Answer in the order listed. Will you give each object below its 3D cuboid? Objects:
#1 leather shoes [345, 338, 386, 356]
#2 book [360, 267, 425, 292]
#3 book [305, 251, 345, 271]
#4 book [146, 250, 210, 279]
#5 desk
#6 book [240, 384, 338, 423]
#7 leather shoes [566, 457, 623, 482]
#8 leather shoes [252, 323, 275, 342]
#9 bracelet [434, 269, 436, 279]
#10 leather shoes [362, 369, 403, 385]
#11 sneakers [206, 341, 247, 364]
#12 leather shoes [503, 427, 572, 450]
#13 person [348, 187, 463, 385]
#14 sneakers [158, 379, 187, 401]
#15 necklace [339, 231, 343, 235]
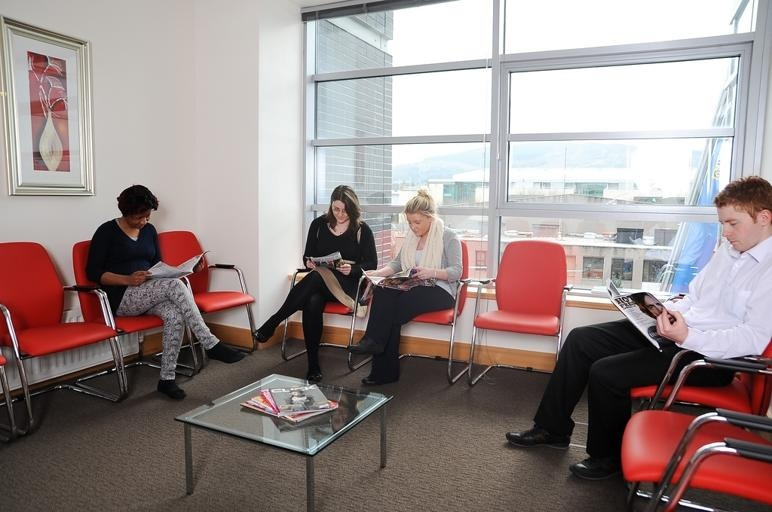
[{"bbox_3d":[-0.153,0.698,3.865,0.248,0.090,0.113,7,-3,-27],"label":"leather shoes"},{"bbox_3d":[0.077,0.196,3.917,0.305,0.111,0.232,2,1,-40],"label":"book"},{"bbox_3d":[-0.521,0.049,4.244,0.276,0.188,0.360,-3,12,-16],"label":"book"},{"bbox_3d":[-1.558,0.033,3.753,0.319,0.109,0.222,-13,-7,-34],"label":"book"},{"bbox_3d":[-0.486,0.826,2.816,0.804,0.382,0.791,3,6,27],"label":"desk"},{"bbox_3d":[-0.506,0.821,2.812,0.259,0.058,0.236,4,2,35],"label":"book"},{"bbox_3d":[1.188,1.213,2.873,0.314,0.114,0.111,0,-2,2],"label":"leather shoes"},{"bbox_3d":[-0.984,0.633,4.148,0.194,0.102,0.081,-34,8,-16],"label":"leather shoes"},{"bbox_3d":[0.391,0.151,4.026,0.024,0.062,0.042,1,13,6],"label":"bracelet"},{"bbox_3d":[-0.044,0.955,3.975,0.236,0.084,0.114,2,-5,-2],"label":"leather shoes"},{"bbox_3d":[-1.211,0.750,3.924,0.342,0.212,0.138,1,6,0],"label":"sneakers"},{"bbox_3d":[0.955,1.143,3.241,0.422,0.156,0.138,3,-3,12],"label":"leather shoes"},{"bbox_3d":[0.193,0.232,4.100,0.887,1.482,0.598,-2,13,-11],"label":"person"},{"bbox_3d":[-1.584,0.995,3.743,0.285,0.179,0.099,1,0,20],"label":"sneakers"},{"bbox_3d":[-0.395,-0.198,4.438,0.038,0.025,0.009,4,-6,6],"label":"necklace"}]
